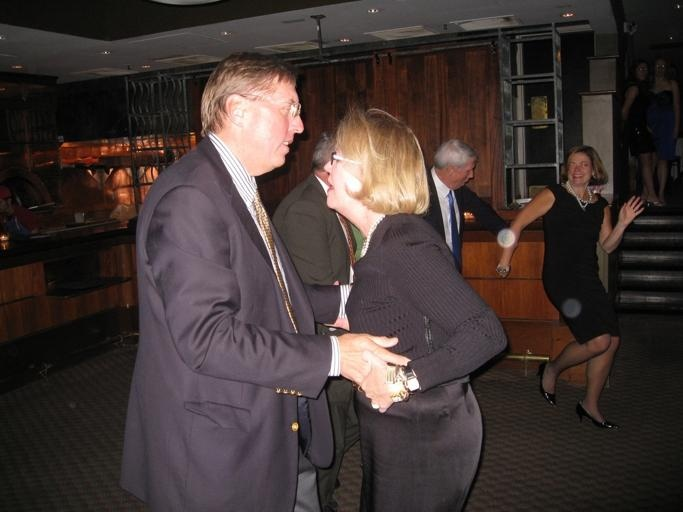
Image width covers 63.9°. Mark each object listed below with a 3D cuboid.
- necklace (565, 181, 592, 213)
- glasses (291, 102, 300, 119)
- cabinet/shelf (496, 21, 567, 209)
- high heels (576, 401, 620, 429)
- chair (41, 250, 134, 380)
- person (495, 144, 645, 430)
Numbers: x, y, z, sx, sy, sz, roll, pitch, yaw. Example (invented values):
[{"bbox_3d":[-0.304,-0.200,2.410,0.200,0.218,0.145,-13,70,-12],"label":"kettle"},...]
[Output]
[{"bbox_3d":[1.916,-0.496,4.453,0.090,0.201,0.200,-11,15,-40],"label":"necklace"},{"bbox_3d":[-0.193,-0.581,2.176,0.020,0.053,0.049,10,18,16],"label":"glasses"},{"bbox_3d":[3.298,-2.309,8.837,0.534,2.579,0.344,-11,18,-36],"label":"cabinet/shelf"},{"bbox_3d":[2.059,1.279,4.411,0.325,0.166,0.113,-1,-4,34],"label":"high heels"},{"bbox_3d":[-2.839,0.465,6.239,1.126,1.079,0.709,-6,9,16],"label":"chair"},{"bbox_3d":[1.962,0.201,4.529,0.487,2.155,0.885,-9,14,-34],"label":"person"}]
